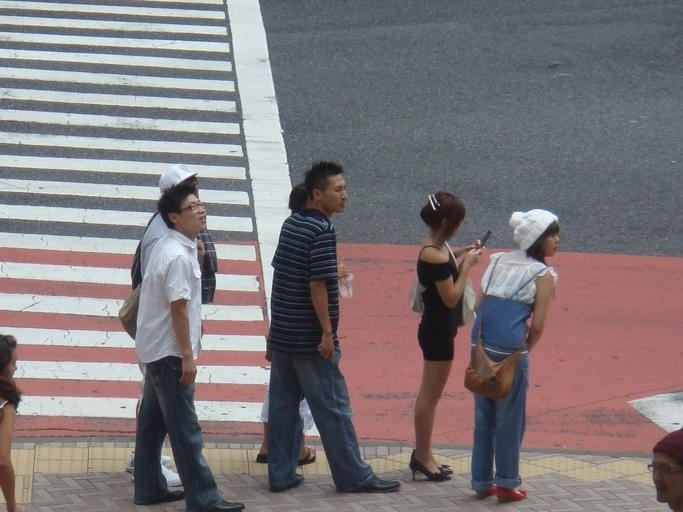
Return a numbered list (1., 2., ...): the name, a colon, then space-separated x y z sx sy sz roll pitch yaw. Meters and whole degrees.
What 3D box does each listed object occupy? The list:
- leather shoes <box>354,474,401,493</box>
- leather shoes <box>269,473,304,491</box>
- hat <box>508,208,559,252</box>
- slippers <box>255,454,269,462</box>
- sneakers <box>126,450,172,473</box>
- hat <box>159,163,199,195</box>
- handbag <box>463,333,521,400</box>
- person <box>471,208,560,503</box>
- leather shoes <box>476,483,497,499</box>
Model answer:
1. leather shoes: 0.463 2.816 19.059 0.666 0.208 0.204 -4 8 -5
2. leather shoes: -0.666 2.830 19.019 0.177 0.155 0.455 16 28 37
3. hat: 2.396 -0.336 19.081 0.668 0.421 0.459 -13 15 11
4. slippers: -1.019 2.597 19.466 0.164 0.090 0.146 2 6 10
5. sneakers: -2.546 2.597 19.277 0.795 0.259 0.230 -2 12 -5
6. hat: -2.130 -0.929 18.810 0.520 0.230 0.344 -23 3 20
7. handbag: 1.872 1.397 18.865 0.601 0.709 0.267 8 12 23
8. person: 2.079 1.230 18.968 0.977 3.569 0.837 5 12 7
9. leather shoes: 1.815 2.924 19.019 0.266 0.158 0.136 -29 36 -21
